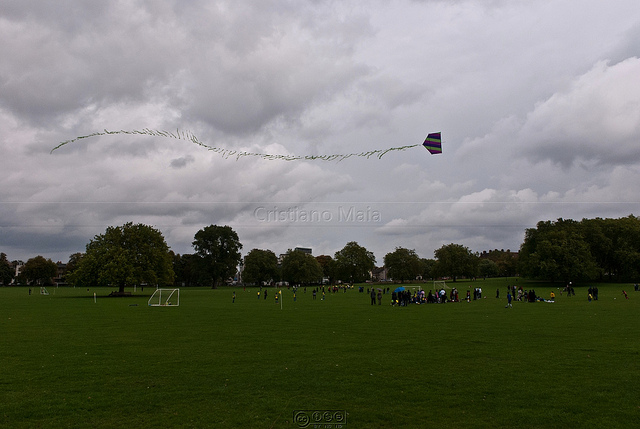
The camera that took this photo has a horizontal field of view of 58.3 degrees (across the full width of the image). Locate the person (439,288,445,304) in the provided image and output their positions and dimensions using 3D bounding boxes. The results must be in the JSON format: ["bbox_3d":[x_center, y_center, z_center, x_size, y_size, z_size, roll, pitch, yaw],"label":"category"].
[{"bbox_3d":[14.464,9.921,68.469,0.585,1.364,2.104,0,0,12],"label":"person"}]
